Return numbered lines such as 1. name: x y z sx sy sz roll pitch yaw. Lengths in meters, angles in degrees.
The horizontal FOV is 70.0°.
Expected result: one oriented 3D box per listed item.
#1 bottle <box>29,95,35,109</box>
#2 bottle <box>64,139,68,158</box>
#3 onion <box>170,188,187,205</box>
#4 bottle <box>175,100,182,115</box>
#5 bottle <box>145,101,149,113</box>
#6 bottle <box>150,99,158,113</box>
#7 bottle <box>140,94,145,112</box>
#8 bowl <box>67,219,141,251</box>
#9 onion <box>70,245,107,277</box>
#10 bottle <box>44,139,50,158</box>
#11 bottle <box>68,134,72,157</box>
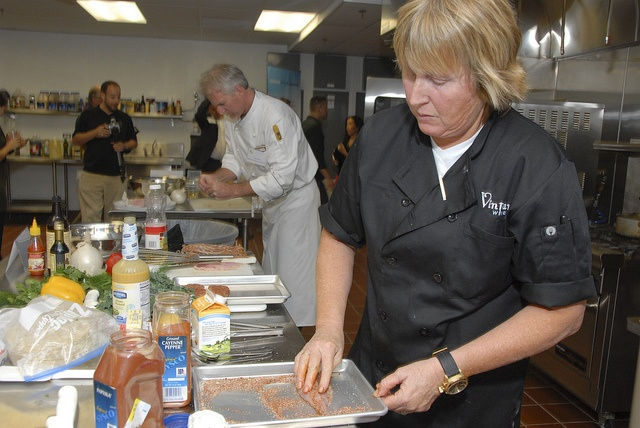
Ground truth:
1. bottle: -4.982 -1.949 7.914 0.088 0.244 0.195 -5 9 -32
2. bottle: -4.335 -1.123 7.806 0.100 0.314 0.303 -4 9 -29
3. onion: -1.151 -0.148 3.714 0.109 0.135 0.110 -4 -27 36
4. bottle: -2.589 -1.946 8.343 0.137 0.299 0.317 -2 8 -17
5. bottle: -3.125 -1.938 8.256 0.080 0.226 0.243 -3 9 -23
6. bottle: -2.990 -1.930 8.202 0.132 0.257 0.183 -5 9 -31
7. bottle: -3.208 -2.006 8.281 0.063 0.326 0.199 -3 8 -20
8. bowl: -1.156 0.135 2.556 0.334 0.163 0.365 -1 5 0
9. onion: -0.985 0.205 2.024 0.136 0.170 0.138 2 -8 21
10. bottle: -4.733 -1.147 7.904 0.100 0.277 0.172 -4 9 -30
11. bottle: -4.342 -1.186 7.930 0.077 0.384 0.392 -4 9 -28
